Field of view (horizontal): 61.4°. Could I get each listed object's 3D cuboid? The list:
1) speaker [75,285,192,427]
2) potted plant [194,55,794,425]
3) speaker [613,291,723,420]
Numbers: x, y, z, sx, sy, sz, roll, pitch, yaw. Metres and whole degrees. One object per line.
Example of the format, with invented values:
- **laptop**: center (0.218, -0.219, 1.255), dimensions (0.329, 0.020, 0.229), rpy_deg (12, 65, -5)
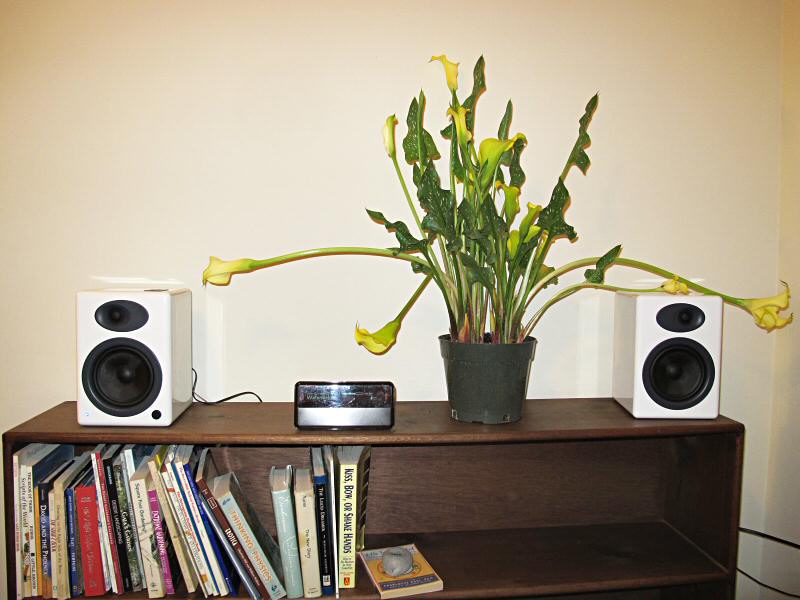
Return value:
- **speaker**: center (-0.788, 0.142, 1.993), dimensions (0.279, 0.389, 0.338), rpy_deg (0, 11, -21)
- **potted plant**: center (0.237, -0.123, 2.360), dimensions (1.409, 1.010, 1.196), rpy_deg (-1, -2, 0)
- **speaker**: center (0.821, 0.141, 2.041), dimensions (0.278, 0.377, 0.318), rpy_deg (3, 13, 22)
